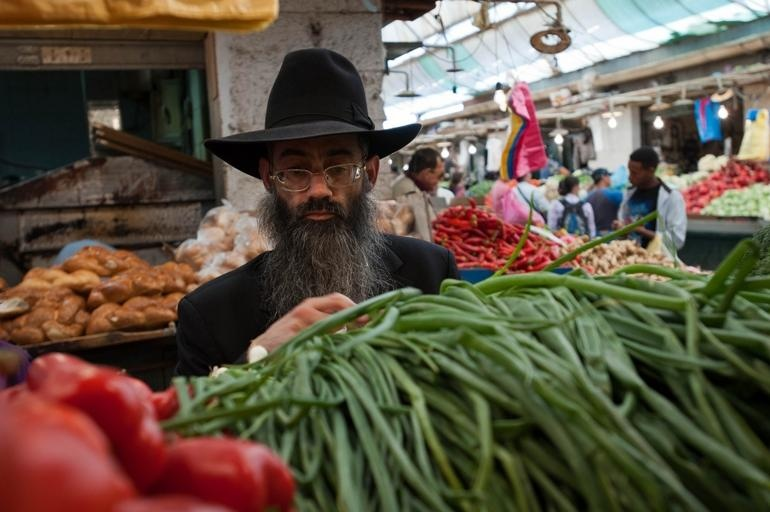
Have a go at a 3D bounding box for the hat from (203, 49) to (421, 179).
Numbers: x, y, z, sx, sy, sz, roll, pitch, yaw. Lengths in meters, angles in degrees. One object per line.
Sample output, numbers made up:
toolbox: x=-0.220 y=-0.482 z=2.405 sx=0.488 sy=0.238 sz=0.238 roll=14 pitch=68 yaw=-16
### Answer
hat: x=-0.335 y=-0.614 z=2.406 sx=0.906 sy=0.491 sz=0.677 roll=0 pitch=6 yaw=9
